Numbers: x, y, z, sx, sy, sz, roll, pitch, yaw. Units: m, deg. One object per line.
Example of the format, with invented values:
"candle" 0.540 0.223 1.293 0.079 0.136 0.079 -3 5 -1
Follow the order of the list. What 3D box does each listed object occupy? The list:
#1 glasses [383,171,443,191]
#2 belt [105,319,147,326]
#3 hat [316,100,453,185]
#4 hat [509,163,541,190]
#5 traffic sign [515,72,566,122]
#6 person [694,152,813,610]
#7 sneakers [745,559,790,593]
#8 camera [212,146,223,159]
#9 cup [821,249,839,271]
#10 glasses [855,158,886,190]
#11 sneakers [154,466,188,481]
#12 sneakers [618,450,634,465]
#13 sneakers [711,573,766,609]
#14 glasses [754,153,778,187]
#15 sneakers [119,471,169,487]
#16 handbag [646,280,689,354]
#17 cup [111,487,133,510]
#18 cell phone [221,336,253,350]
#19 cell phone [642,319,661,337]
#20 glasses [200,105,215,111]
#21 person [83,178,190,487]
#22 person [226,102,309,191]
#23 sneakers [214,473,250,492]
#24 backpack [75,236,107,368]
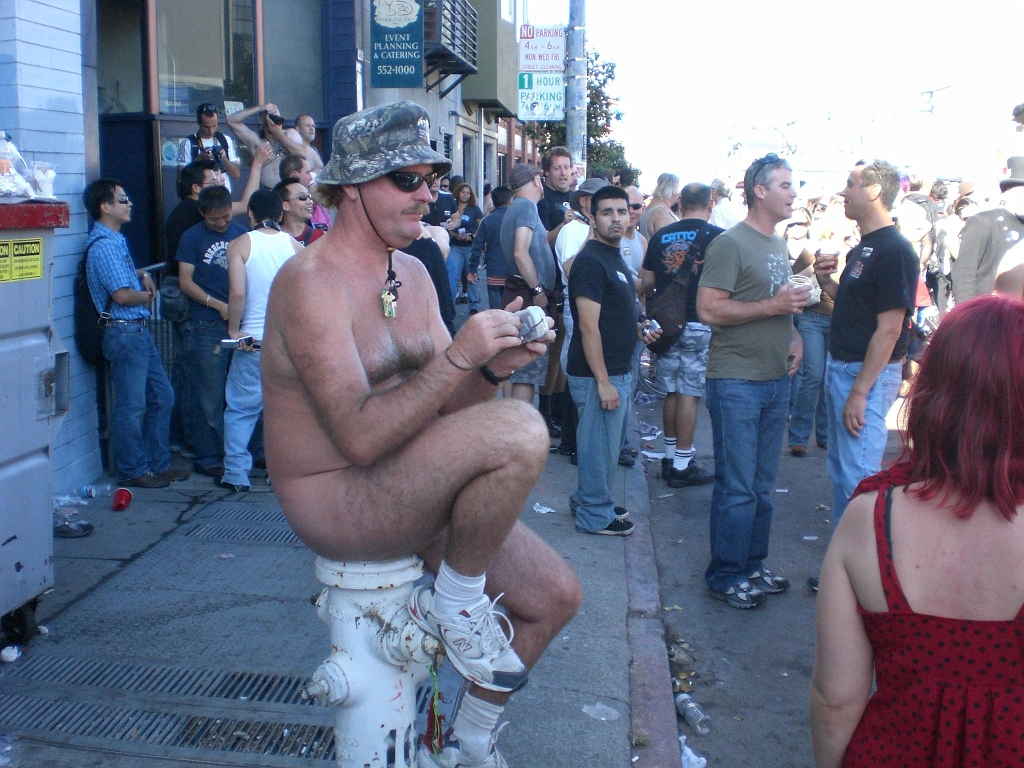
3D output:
"glasses" -0.370 -0.701 3.013 0.106 0.035 0.103 4 9 42
"belt" -2.820 -0.464 6.404 0.299 0.052 0.092 -8 17 -44
"hat" -0.453 -0.858 3.122 0.491 0.299 0.596 -1 14 -17
"hat" 0.141 -2.109 8.848 0.232 0.191 0.336 -1 26 46
"traffic sign" 0.448 -4.234 12.764 0.661 0.709 0.090 3 15 0
"person" 1.506 -0.018 5.434 0.581 2.720 0.671 -2 12 -27
"sneakers" 1.643 1.238 5.607 0.298 0.148 0.148 10 17 28
"camera" -2.872 -2.264 8.509 0.093 0.095 0.071 10 10 17
"cup" 2.082 -0.820 5.700 0.089 0.158 0.148 -5 5 12
"glasses" 2.183 -1.289 5.298 0.126 0.166 0.179 5 29 -8
"sneakers" -2.677 0.723 6.903 0.207 0.096 0.087 -5 25 -20
"sneakers" 1.064 0.675 7.994 0.230 0.122 0.077 2 8 38
"sneakers" 1.424 1.285 5.463 0.139 0.163 0.311 -10 5 -44
"glasses" 1.582 -1.344 5.430 0.078 0.209 0.156 30 34 13
"sneakers" -2.818 0.724 6.690 0.347 0.151 0.136 -2 8 -13
"handbag" 1.391 -0.583 7.691 0.319 0.670 0.539 -2 -9 -13
"cup" -2.775 0.805 6.206 0.132 0.125 0.214 -2 13 -25
"cell phone" -2.085 -0.312 6.615 0.154 0.071 0.118 -4 -1 -8
"cell phone" 1.228 -0.494 7.624 0.140 0.160 0.041 -24 -20 10
"glasses" -2.851 -2.610 8.209 0.145 0.062 0.125 -8 15 -29
"person" -2.841 -0.359 6.537 0.524 2.274 0.546 8 12 21
"person" -2.409 -2.140 8.794 0.619 1.404 0.426 -11 -6 -21
"sneakers" -2.188 0.769 6.773 0.296 0.128 0.115 12 11 25
"backpack" -3.070 -0.565 6.397 0.305 0.939 0.193 9 12 25
